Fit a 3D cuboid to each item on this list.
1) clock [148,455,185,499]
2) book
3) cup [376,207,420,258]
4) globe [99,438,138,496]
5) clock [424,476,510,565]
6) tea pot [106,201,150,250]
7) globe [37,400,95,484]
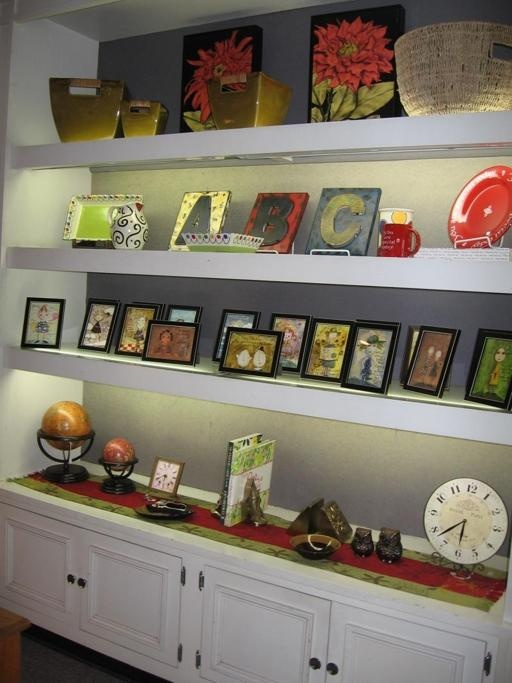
[{"bbox_3d":[-0.362,0.560,2.261,0.143,0.155,0.021,9,-9,34],"label":"clock"},{"bbox_3d":[-0.020,0.513,1.998,0.112,0.274,0.292,9,11,30],"label":"book"},{"bbox_3d":[0.408,-0.316,1.599,0.112,0.135,0.206,-1,12,12],"label":"cup"},{"bbox_3d":[-0.577,0.516,2.323,0.172,0.208,0.170,2,-1,-21],"label":"globe"},{"bbox_3d":[0.630,0.537,1.638,0.277,0.269,0.067,-2,-5,27],"label":"clock"},{"bbox_3d":[-0.487,-0.445,2.171,0.193,0.223,0.176,1,6,0],"label":"tea pot"},{"bbox_3d":[-0.828,0.427,2.412,0.241,0.310,0.234,2,0,-6],"label":"globe"}]
